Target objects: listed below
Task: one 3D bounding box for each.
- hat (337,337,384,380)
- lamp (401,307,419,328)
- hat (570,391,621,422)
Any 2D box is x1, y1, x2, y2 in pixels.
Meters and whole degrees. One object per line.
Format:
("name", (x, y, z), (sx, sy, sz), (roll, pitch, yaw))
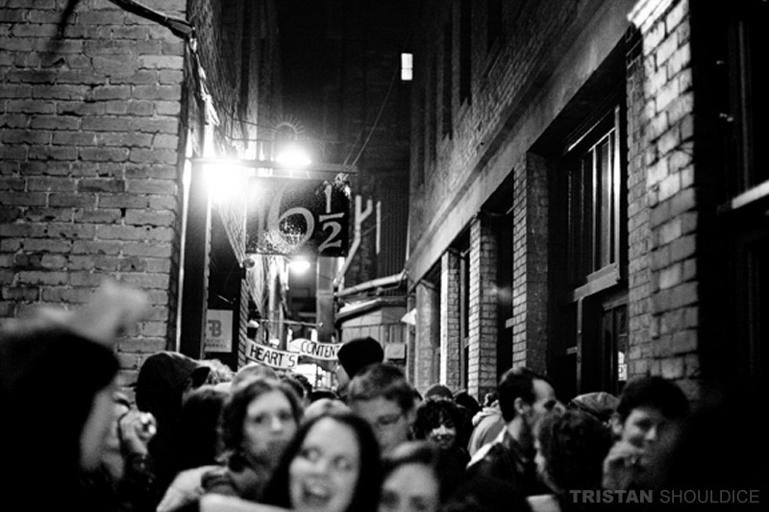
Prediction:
("hat", (-0.249, 0.852, 8.147), (0.394, 0.300, 0.142), (-30, -2, 21))
("lamp", (0.564, 1.349, 21.122), (0.394, 0.430, 0.432), (1, -4, 18))
("hat", (1.811, 1.230, 7.996), (0.311, 0.126, 0.413), (4, -3, 40))
